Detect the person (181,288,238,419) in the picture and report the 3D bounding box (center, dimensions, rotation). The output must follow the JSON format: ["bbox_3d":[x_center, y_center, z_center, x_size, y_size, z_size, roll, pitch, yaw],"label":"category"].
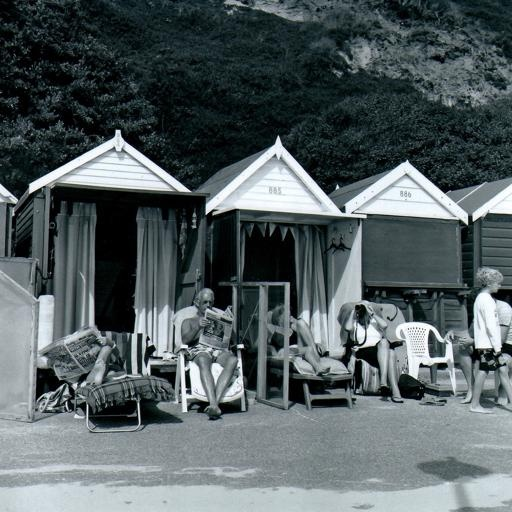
[{"bbox_3d":[-0.667,1.399,15.236,0.593,1.880,0.962,4,-6,-36],"label":"person"}]

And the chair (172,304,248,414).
[{"bbox_3d":[-0.679,1.489,15.657,0.989,1.520,1.641,0,2,-7],"label":"chair"}]

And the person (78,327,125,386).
[{"bbox_3d":[-2.122,1.511,14.919,0.851,0.421,0.674,-13,-9,5],"label":"person"}]

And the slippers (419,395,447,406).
[{"bbox_3d":[2.746,2.248,16.283,0.403,0.109,0.769,-1,-6,9],"label":"slippers"}]

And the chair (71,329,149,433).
[{"bbox_3d":[-2.038,1.732,14.543,0.934,1.338,1.095,1,-5,-11],"label":"chair"}]

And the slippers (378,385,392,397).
[{"bbox_3d":[2.014,2.132,16.492,0.050,0.210,0.185,-4,-9,42],"label":"slippers"}]

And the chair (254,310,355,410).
[{"bbox_3d":[0.663,1.408,15.942,0.803,1.419,1.901,0,0,-23],"label":"chair"}]

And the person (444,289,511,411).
[{"bbox_3d":[3.461,1.513,16.403,1.090,2.045,0.806,15,-28,-27],"label":"person"}]

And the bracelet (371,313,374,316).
[{"bbox_3d":[1.829,0.908,16.405,0.027,0.031,0.052,2,-1,-5],"label":"bracelet"}]

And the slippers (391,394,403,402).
[{"bbox_3d":[2.180,2.203,16.156,0.185,0.099,0.171,0,-5,2],"label":"slippers"}]

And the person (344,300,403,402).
[{"bbox_3d":[1.852,1.399,16.288,0.784,1.628,1.592,-7,1,-9],"label":"person"}]

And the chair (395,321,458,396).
[{"bbox_3d":[2.662,1.629,16.634,0.782,1.195,0.861,-4,-2,3],"label":"chair"}]
